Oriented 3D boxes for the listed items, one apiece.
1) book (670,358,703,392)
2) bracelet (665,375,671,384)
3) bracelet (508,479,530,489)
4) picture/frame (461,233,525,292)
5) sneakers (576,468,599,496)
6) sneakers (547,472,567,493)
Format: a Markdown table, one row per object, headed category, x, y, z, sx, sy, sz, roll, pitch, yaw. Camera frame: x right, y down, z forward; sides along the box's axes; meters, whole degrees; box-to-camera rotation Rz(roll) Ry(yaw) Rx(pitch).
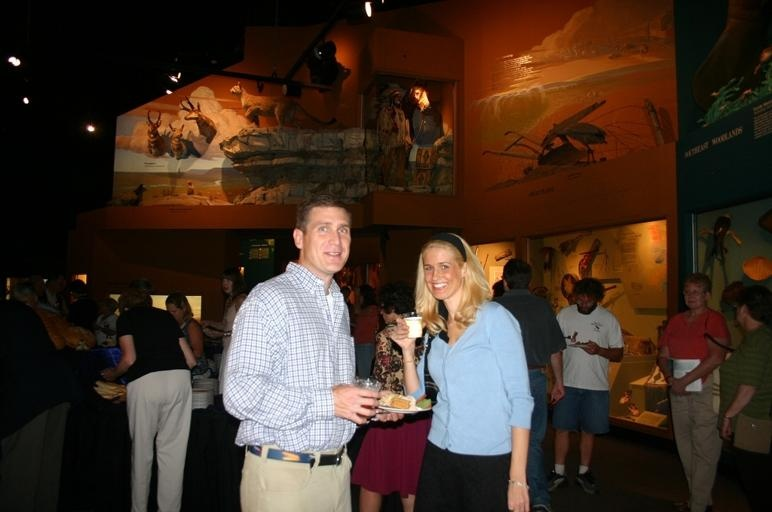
| category | x | y | z | sx | sy | sz | roll | pitch | yaw |
| --- | --- | --- | --- | --- | --- | --- | --- | --- | --- |
| book | 3.648 | 1.445 | 7.177 | 0.052 | 0.456 | 0.391 | 16 | -15 | -32 |
| bracelet | 3.490 | 1.525 | 7.327 | 0.033 | 0.107 | 0.076 | 21 | -27 | -39 |
| bracelet | 1.186 | 2.052 | 5.355 | 0.162 | 0.086 | 0.077 | 2 | -3 | 0 |
| picture/frame | 1.711 | 0.068 | 9.152 | 0.098 | 1.023 | 1.019 | 3 | -8 | -27 |
| sneakers | 2.717 | 2.975 | 7.871 | 0.315 | 0.289 | 0.244 | 3 | -3 | -18 |
| sneakers | 2.257 | 2.984 | 7.866 | 0.365 | 0.155 | 0.123 | 5 | -11 | -39 |
